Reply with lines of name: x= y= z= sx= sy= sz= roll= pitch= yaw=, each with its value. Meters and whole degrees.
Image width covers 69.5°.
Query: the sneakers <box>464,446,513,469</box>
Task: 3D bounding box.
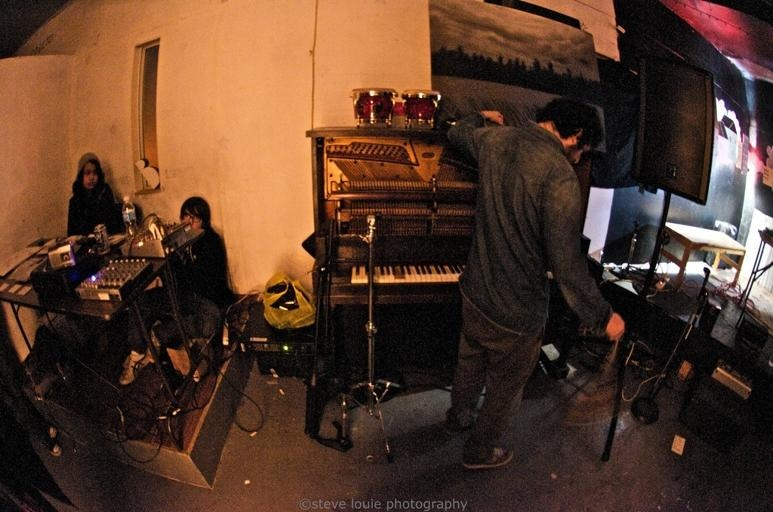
sneakers: x=0.790 y=1.590 z=4.451 sx=0.402 sy=0.176 sz=0.156 roll=-6 pitch=13 yaw=-3

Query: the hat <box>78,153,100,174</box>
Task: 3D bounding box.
hat: x=-2.295 y=-0.725 z=4.346 sx=0.140 sy=0.143 sz=0.125 roll=11 pitch=7 yaw=18

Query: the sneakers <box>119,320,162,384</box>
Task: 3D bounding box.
sneakers: x=-1.978 y=0.797 z=4.503 sx=0.187 sy=0.522 sz=0.198 roll=17 pitch=-14 yaw=-1

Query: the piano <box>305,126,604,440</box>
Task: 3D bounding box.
piano: x=0.502 y=0.209 z=4.451 sx=2.536 sy=2.377 sz=1.070 roll=0 pitch=7 yaw=-6

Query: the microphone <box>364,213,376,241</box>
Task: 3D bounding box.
microphone: x=-0.118 y=-0.201 z=4.189 sx=0.072 sy=0.227 sz=0.206 roll=-6 pitch=18 yaw=-5

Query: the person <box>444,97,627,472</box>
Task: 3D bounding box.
person: x=1.007 y=0.324 z=4.292 sx=1.115 sy=2.607 sz=0.788 roll=-1 pitch=18 yaw=10

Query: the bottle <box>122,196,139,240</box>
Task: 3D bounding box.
bottle: x=-2.053 y=-0.323 z=4.523 sx=0.116 sy=0.304 sz=0.183 roll=-10 pitch=19 yaw=-19

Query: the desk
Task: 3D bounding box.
desk: x=-2.258 y=0.584 z=4.266 sx=1.011 sy=0.807 sz=0.515 roll=9 pitch=47 yaw=-19

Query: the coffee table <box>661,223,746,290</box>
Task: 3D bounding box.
coffee table: x=2.618 y=0.022 z=4.672 sx=0.557 sy=0.390 sz=0.312 roll=3 pitch=23 yaw=-11
